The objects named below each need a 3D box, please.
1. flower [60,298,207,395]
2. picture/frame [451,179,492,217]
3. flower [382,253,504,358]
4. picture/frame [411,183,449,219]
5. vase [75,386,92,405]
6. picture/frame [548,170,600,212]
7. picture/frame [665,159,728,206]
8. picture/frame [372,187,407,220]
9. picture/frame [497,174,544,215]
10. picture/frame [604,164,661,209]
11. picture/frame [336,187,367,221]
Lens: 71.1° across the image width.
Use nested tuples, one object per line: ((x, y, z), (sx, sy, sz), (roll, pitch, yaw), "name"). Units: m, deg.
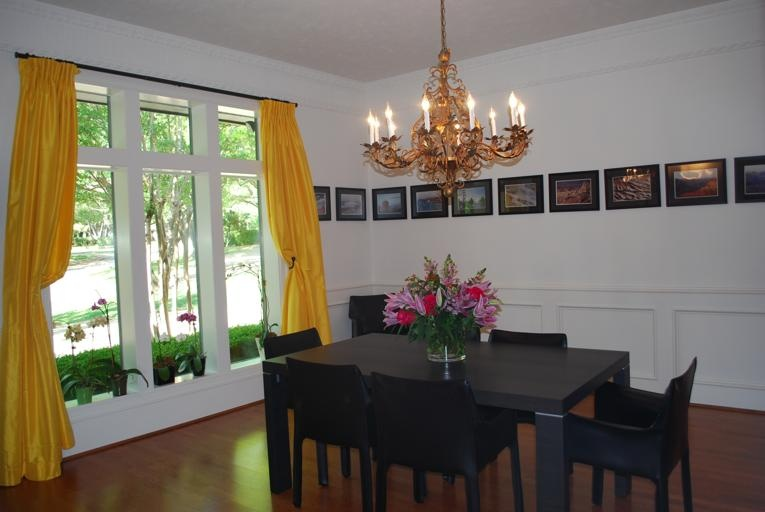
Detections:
((-2.439, 1.026, 5.797), (0.622, 0.999, 1.694), (4, 6, 39), "flower")
((1.122, -0.728, 6.563), (0.494, 0.442, 0.022), (1, 4, 29), "picture/frame")
((0.401, 0.414, 4.415), (0.831, 0.778, 0.858), (0, -4, -18), "flower")
((0.621, -0.712, 6.877), (0.485, 0.443, 0.037), (-3, -2, 30), "picture/frame")
((-2.952, 1.384, 5.300), (0.154, 0.138, 0.141), (-6, -8, 35), "vase")
((2.269, -0.768, 6.269), (0.479, 0.429, 0.022), (1, 2, 26), "picture/frame")
((3.394, -0.795, 5.733), (0.487, 0.457, 0.039), (-1, 2, 26), "picture/frame")
((0.119, -0.738, 7.434), (0.440, 0.411, 0.034), (-2, -2, 27), "picture/frame")
((1.720, -0.759, 6.550), (0.487, 0.435, 0.023), (-1, 2, 31), "picture/frame")
((2.826, -0.782, 5.986), (0.493, 0.455, 0.037), (-1, -1, 25), "picture/frame")
((-0.449, -0.718, 7.333), (0.460, 0.406, 0.037), (-2, -1, -42), "picture/frame")
